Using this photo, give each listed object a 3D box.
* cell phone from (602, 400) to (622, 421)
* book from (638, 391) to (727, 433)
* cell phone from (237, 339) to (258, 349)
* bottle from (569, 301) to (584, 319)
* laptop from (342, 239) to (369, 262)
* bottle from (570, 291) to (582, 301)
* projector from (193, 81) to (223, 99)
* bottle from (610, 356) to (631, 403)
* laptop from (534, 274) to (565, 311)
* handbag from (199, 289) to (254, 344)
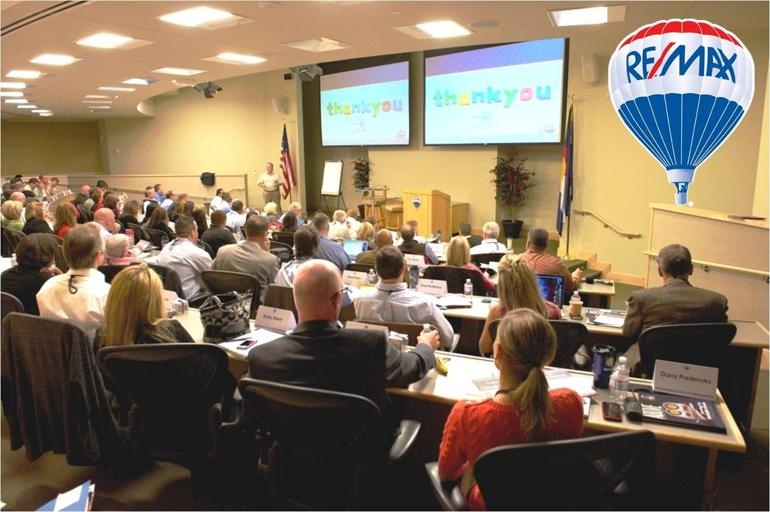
[{"bbox_3d":[1.476,0.990,3.351,0.124,0.079,0.180,3,6,24],"label":"cell phone"},{"bbox_3d":[1.910,0.990,3.342,0.281,0.043,0.263,6,12,16],"label":"book"},{"bbox_3d":[-1.034,0.654,3.884,0.090,0.047,0.161,2,8,6],"label":"cell phone"},{"bbox_3d":[1.793,0.496,4.854,0.137,0.155,0.143,0,4,12],"label":"bottle"},{"bbox_3d":[-0.394,-0.070,6.732,0.346,0.257,0.241,5,-2,15],"label":"laptop"},{"bbox_3d":[1.975,0.406,5.354,0.117,0.137,0.120,-3,-7,25],"label":"bottle"},{"bbox_3d":[-4.251,-3.927,12.328,0.447,0.400,0.865,0,5,-7],"label":"projector"},{"bbox_3d":[1.569,0.805,3.471,0.109,0.301,0.185,3,6,24],"label":"bottle"},{"bbox_3d":[1.482,0.323,4.675,0.324,0.320,0.277,2,5,2],"label":"laptop"},{"bbox_3d":[-1.244,0.482,4.112,0.430,0.392,0.211,-15,25,-43],"label":"handbag"}]
